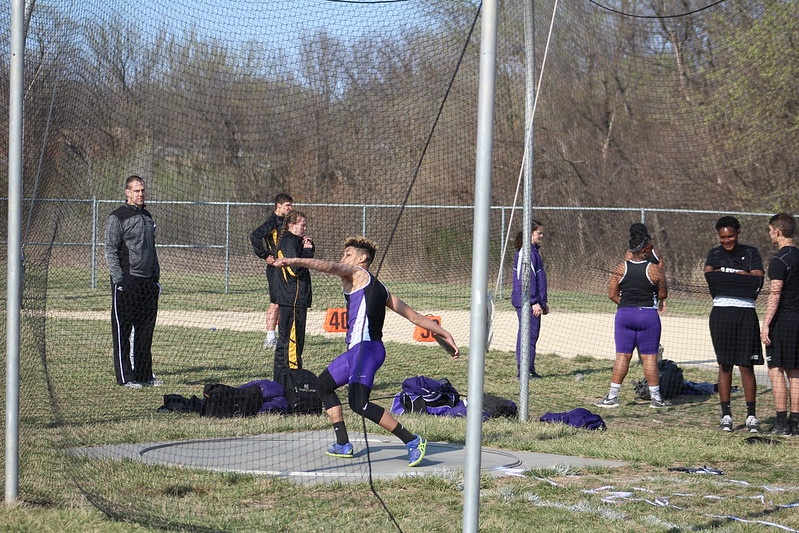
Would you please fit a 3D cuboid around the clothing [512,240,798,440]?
[{"bbox_3d":[4.373,0.884,16.396,2.096,2.733,0.595,-4,-5,43],"label":"clothing"}]

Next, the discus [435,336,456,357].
[{"bbox_3d":[0.510,0.932,14.157,0.287,0.250,0.230,-3,-4,27],"label":"discus"}]

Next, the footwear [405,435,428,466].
[{"bbox_3d":[0.188,2.163,14.446,0.230,0.401,0.185,10,-4,-6],"label":"footwear"}]

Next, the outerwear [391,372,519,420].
[{"bbox_3d":[0.687,1.831,16.657,0.844,0.406,1.154,-1,-4,36],"label":"outerwear"}]

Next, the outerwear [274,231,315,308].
[{"bbox_3d":[-1.394,0.032,16.444,0.542,0.923,0.640,-13,9,-3],"label":"outerwear"}]

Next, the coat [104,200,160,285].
[{"bbox_3d":[-3.808,-0.320,17.077,0.721,1.113,0.277,0,-4,-16],"label":"coat"}]

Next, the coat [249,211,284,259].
[{"bbox_3d":[-1.898,-0.422,17.082,0.370,0.687,0.902,1,3,35],"label":"coat"}]

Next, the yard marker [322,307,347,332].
[{"bbox_3d":[-1.153,0.952,21.184,0.572,0.532,0.135,-3,0,27],"label":"yard marker"}]
